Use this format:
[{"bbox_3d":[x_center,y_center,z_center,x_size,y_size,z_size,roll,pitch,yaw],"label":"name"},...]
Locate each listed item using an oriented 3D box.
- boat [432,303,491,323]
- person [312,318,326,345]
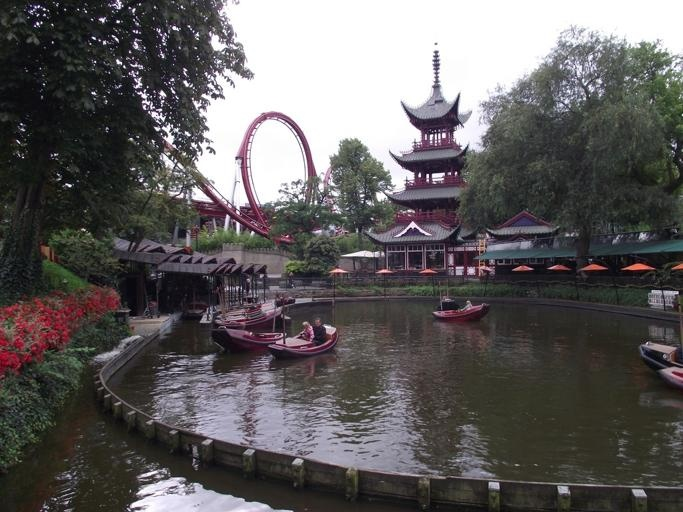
[{"bbox_3d":[8.037,3.989,39.720,3.681,1.397,1.512,-8,-1,37],"label":"boat"},{"bbox_3d":[-1.056,3.690,28.641,0.631,1.206,1.034,-1,-3,4],"label":"person"}]
